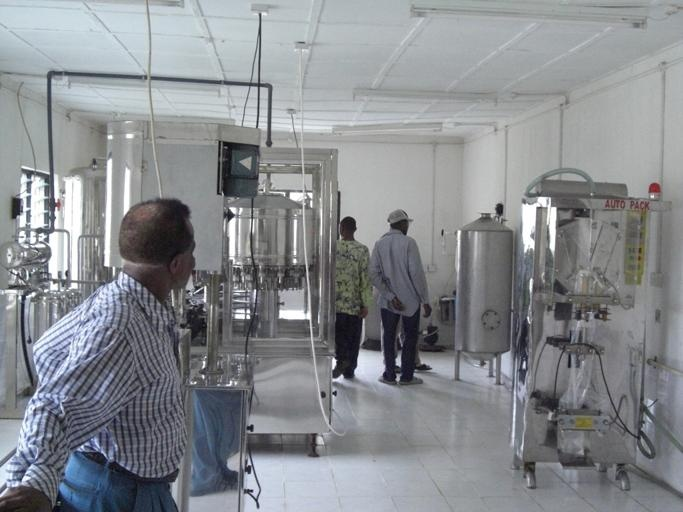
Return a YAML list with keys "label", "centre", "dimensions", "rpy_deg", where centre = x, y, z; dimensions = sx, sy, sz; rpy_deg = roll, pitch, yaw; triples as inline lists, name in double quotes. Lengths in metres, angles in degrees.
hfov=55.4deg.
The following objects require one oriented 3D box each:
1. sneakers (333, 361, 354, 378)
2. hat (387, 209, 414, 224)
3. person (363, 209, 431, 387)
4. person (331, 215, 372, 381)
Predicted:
- label: "sneakers"
  centre: [0.018, 1.115, 6.287]
  dimensions: [0.118, 0.200, 0.384]
  rpy_deg: [-3, -18, 10]
- label: "hat"
  centre: [0.616, -0.391, 6.647]
  dimensions: [0.262, 0.157, 0.198]
  rpy_deg: [-5, 3, -11]
- label: "person"
  centre: [0.564, 0.446, 6.543]
  dimensions: [0.581, 1.764, 0.344]
  rpy_deg: [2, 6, 9]
- label: "person"
  centre: [0.105, 0.404, 6.125]
  dimensions: [0.331, 1.496, 0.938]
  rpy_deg: [1, 6, 2]
